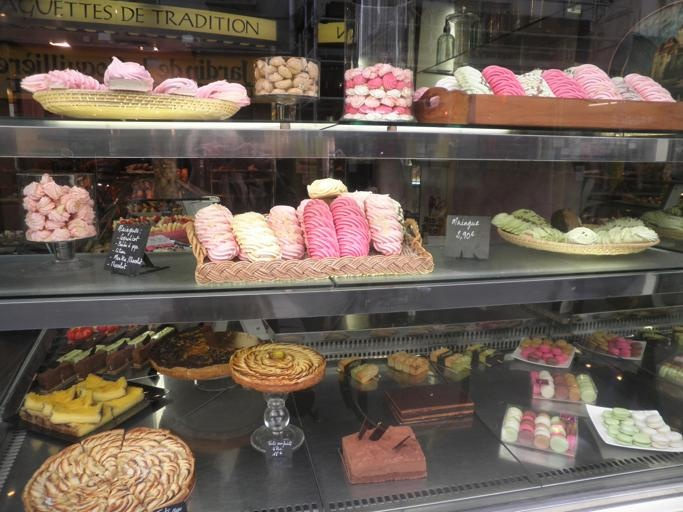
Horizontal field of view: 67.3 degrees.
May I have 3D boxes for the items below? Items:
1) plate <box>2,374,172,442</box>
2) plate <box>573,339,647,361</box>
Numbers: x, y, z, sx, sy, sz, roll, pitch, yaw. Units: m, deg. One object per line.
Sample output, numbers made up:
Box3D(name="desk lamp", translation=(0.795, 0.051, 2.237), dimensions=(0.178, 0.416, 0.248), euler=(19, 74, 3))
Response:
Box3D(name="plate", translation=(-0.857, 0.484, 1.650), dimensions=(0.287, 0.069, 0.238), euler=(5, 9, 18))
Box3D(name="plate", translation=(1.112, 0.370, 2.098), dimensions=(0.146, 0.016, 0.135), euler=(-12, 21, -34))
